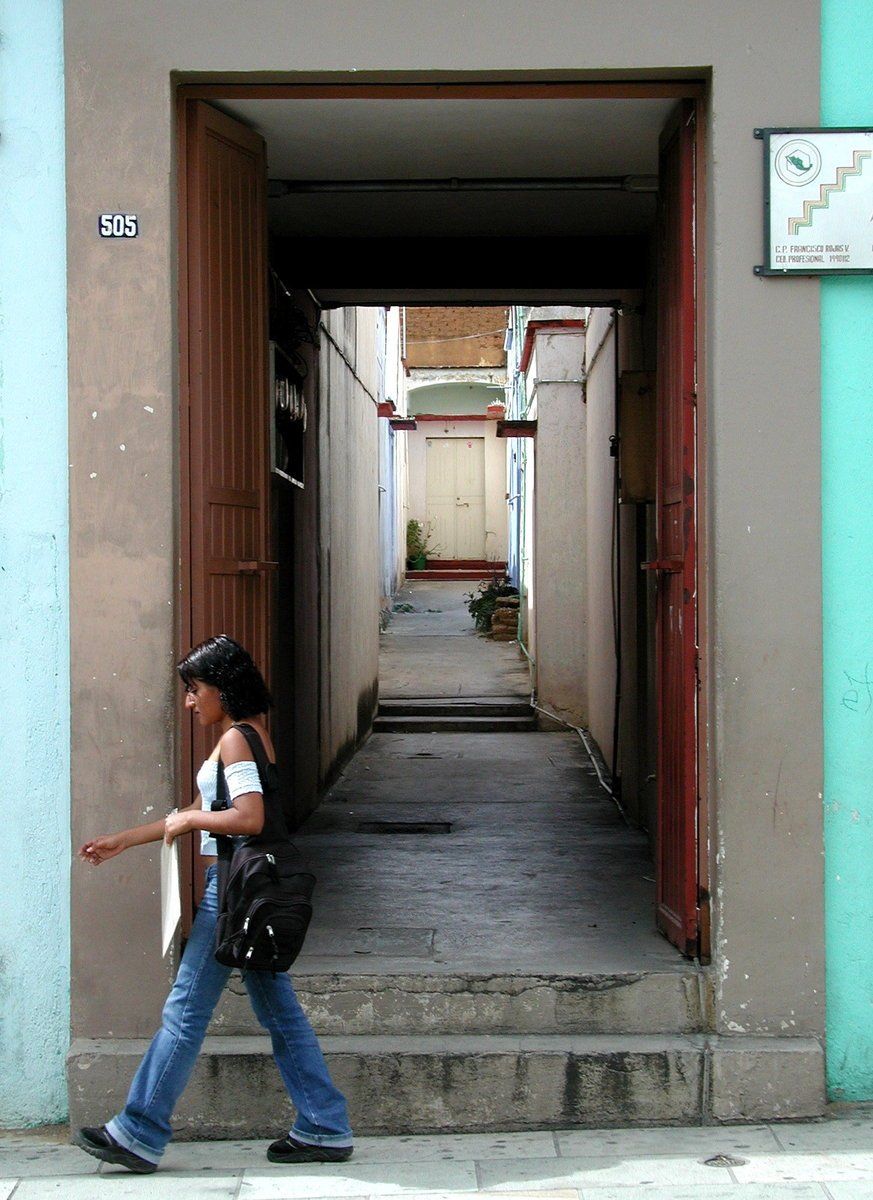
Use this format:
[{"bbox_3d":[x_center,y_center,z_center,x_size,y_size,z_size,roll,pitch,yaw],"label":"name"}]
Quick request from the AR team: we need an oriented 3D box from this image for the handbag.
[{"bbox_3d":[-0.418,0.595,2.896,0.236,0.573,0.182,0,3,-10],"label":"handbag"}]
